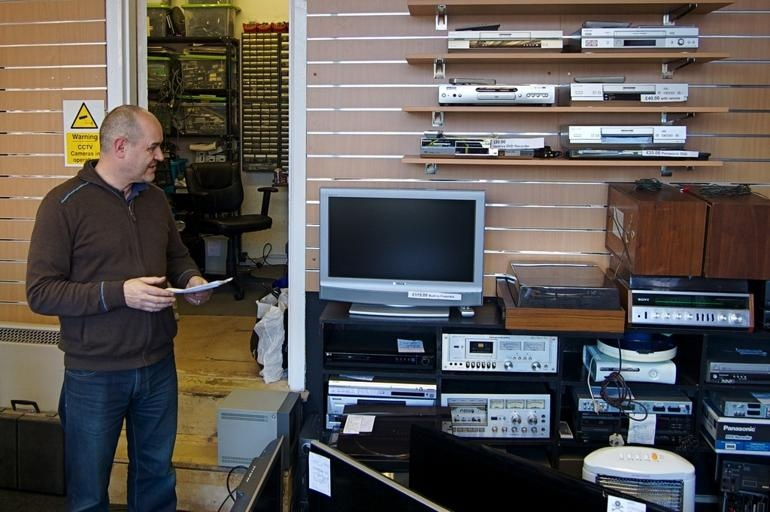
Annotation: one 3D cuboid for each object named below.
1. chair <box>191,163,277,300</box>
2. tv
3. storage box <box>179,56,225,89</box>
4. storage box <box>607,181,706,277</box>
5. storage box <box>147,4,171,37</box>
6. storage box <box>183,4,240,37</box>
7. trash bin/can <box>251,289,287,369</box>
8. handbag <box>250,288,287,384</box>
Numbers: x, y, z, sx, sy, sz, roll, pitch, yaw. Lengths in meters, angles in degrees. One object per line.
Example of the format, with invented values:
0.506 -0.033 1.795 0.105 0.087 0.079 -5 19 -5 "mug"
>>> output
-1.530 -0.278 7.133 0.897 1.218 0.838 0 12 -15 "chair"
0.103 -0.033 4.270 0.858 0.554 0.241 1 10 3 "tv"
-1.934 -1.953 7.743 0.409 0.259 0.382 0 13 -3 "storage box"
1.493 -0.137 4.069 0.471 0.484 0.804 1 8 10 "storage box"
-2.398 -2.497 7.735 0.220 0.330 0.068 0 4 -5 "storage box"
-1.836 -2.513 7.769 0.496 0.249 0.360 0 12 0 "storage box"
-0.775 0.514 4.919 0.317 0.602 0.559 2 3 -13 "trash bin/can"
-0.776 0.566 4.905 0.308 0.622 0.611 2 3 -2 "handbag"
